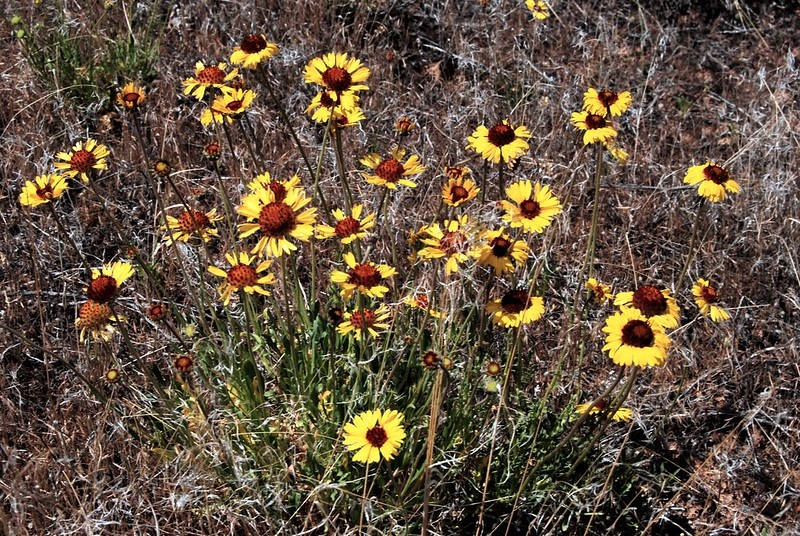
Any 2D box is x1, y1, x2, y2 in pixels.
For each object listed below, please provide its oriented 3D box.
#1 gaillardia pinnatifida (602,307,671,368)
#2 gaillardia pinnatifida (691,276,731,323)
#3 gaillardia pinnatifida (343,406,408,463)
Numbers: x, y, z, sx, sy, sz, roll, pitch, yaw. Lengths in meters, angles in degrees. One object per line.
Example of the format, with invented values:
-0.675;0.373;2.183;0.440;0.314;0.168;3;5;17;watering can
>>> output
1.460;0.436;4.752;0.386;0.276;0.385;2;78;-3;gaillardia pinnatifida
2.187;0.220;5.342;0.226;0.280;0.312;-13;78;-6;gaillardia pinnatifida
-0.171;1.063;4.805;0.333;0.133;0.351;-33;59;-11;gaillardia pinnatifida
